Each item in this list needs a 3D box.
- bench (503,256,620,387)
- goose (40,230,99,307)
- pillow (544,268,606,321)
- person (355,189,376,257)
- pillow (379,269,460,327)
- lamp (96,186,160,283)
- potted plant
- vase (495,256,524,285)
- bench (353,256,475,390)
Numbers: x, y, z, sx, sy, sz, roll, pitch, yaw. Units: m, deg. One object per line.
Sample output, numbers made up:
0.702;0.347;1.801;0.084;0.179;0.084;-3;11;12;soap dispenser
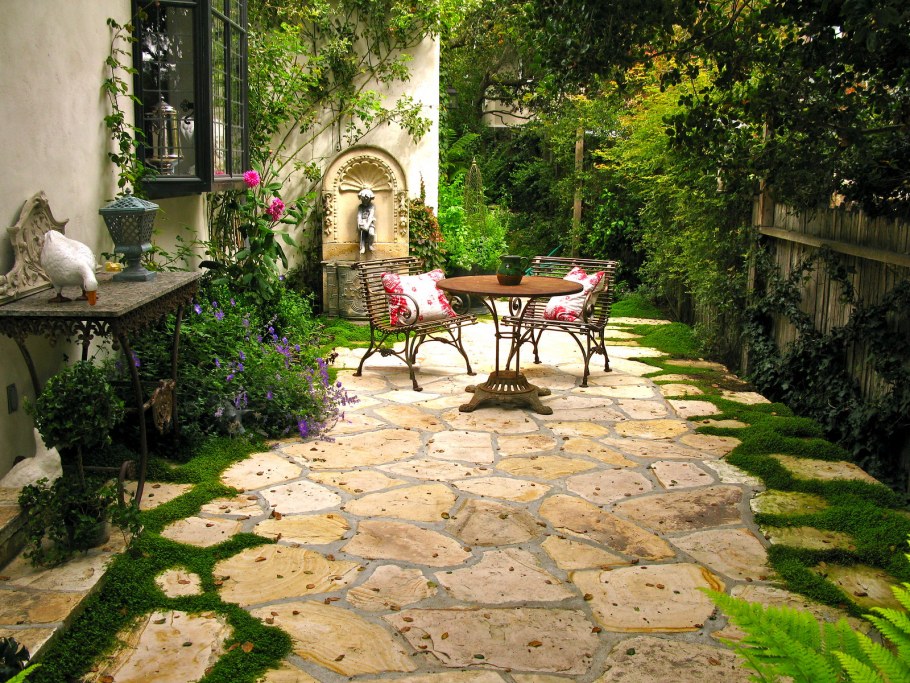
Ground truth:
1.086;-0.185;6.890;1.468;1.351;1.118;4;10;38;bench
-2.000;-0.392;3.521;0.455;0.380;0.208;5;11;34;goose
1.232;-0.437;6.754;0.175;0.537;0.553;34;-15;-21;pillow
-1.253;-1.668;9.343;0.198;0.899;0.318;-4;10;-18;person
-0.399;-0.441;6.524;0.671;0.542;0.186;-7;-17;-31;pillow
-1.969;-0.654;4.137;0.342;0.520;0.302;13;13;34;lamp
-1.806;0.540;3.442;0.543;0.837;0.514;0;11;-15;potted plant
0.475;-0.645;6.100;0.299;0.229;0.217;-1;4;-22;vase
-0.415;-0.214;6.910;0.979;1.095;1.002;10;13;37;bench
